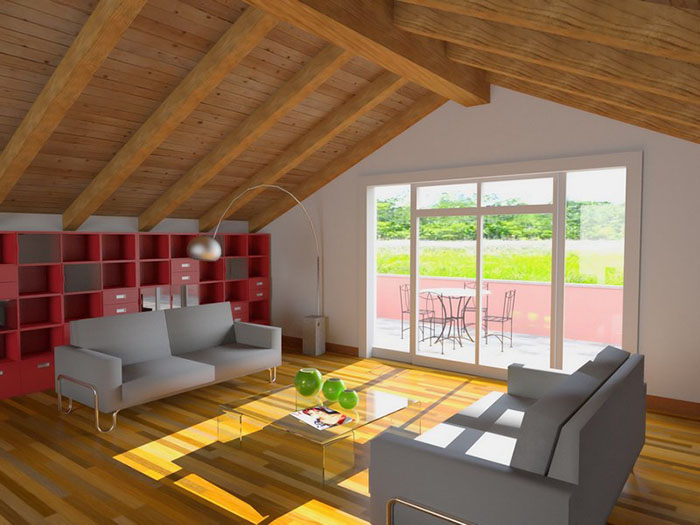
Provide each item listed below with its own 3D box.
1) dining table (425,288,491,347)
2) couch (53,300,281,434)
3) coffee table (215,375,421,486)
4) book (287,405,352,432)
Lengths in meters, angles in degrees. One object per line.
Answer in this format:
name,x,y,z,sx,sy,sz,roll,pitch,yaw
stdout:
dining table,1.673,0.734,6.947,0.960,0.558,0.888,0,2,23
couch,-2.058,1.092,5.635,2.089,1.043,1.023,-8,12,-43
coffee table,-0.251,1.553,4.589,1.148,0.212,1.002,2,4,40
book,-0.235,1.372,4.305,0.427,0.025,0.474,-7,10,-42
